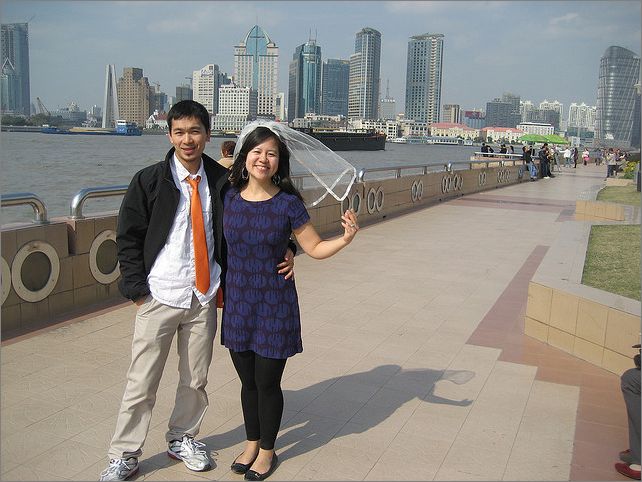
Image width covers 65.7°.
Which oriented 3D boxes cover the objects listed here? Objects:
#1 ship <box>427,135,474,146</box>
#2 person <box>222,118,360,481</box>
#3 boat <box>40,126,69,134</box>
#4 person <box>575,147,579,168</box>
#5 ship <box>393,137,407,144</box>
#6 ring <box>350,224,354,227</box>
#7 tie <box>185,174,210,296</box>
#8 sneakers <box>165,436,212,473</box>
[{"bbox_3d":[61.566,-46.966,235.038,20.694,3.819,15.160,5,13,15],"label":"ship"},{"bbox_3d":[-0.361,0.394,3.350,0.626,2.300,0.548,-7,14,-35],"label":"person"},{"bbox_3d":[-77.074,-31.404,141.935,10.091,2.179,5.994,10,15,33],"label":"boat"},{"bbox_3d":[22.092,-7.133,42.931,0.351,1.521,2.593,7,13,24],"label":"person"},{"bbox_3d":[41.488,-52.306,258.173,9.325,3.814,5.612,0,11,1],"label":"ship"},{"bbox_3d":[0.203,-0.098,3.214,0.015,0.014,0.010,-3,-7,-1],"label":"ring"},{"bbox_3d":[-0.787,-0.017,3.209,0.121,0.736,0.074,-1,-3,-20],"label":"tie"},{"bbox_3d":[-0.914,1.440,3.390,0.310,0.143,0.160,23,15,22],"label":"sneakers"}]
